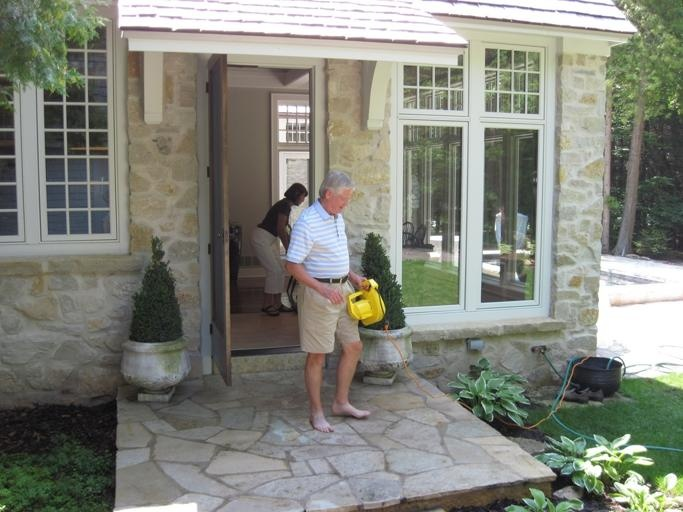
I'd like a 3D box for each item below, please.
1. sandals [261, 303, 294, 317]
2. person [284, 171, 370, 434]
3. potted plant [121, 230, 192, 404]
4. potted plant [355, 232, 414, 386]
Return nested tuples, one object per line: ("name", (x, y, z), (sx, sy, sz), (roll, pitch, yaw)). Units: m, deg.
("sandals", (-0.898, 0.727, 7.845), (0.169, 0.120, 0.441), (1, -1, 32))
("person", (-0.110, 0.372, 4.759), (0.734, 2.141, 0.466), (-2, 11, -17))
("potted plant", (-1.749, 0.603, 5.294), (0.611, 1.499, 0.460), (-3, 11, -22))
("potted plant", (0.367, 0.540, 5.955), (0.658, 1.599, 0.623), (-7, -1, -45))
